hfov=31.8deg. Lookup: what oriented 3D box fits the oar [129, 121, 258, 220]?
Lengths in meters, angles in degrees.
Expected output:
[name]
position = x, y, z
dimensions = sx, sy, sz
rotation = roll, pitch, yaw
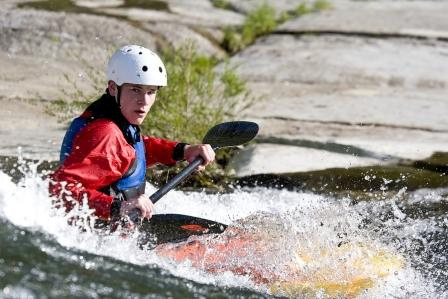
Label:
[oar]
position = -0.341, 0.212, 7.784
dimensions = 1.506, 0.309, 0.197
rotation = -34, 27, -15
